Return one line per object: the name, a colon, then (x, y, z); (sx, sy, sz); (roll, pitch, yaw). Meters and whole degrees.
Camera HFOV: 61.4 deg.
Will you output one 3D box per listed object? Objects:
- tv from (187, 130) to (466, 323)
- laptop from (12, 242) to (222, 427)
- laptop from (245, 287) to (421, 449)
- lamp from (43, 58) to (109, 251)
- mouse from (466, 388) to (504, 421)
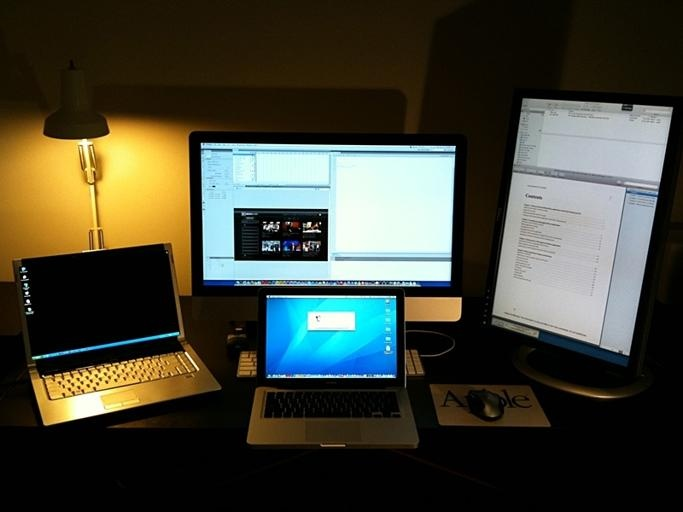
tv: (-0.057, -0.090, 1.543); (0.495, 0.356, 0.132); (1, 6, -1)
laptop: (-0.569, 0.179, 1.448); (0.409, 0.347, 0.359); (-8, 16, -30)
laptop: (-0.022, 0.270, 1.459); (0.443, 0.304, 0.364); (0, 27, -2)
lamp: (-0.766, -0.286, 1.690); (0.172, 0.555, 0.222); (-6, 16, -25)
mouse: (0.355, 0.358, 1.432); (0.088, 0.041, 0.124); (5, 19, -14)
